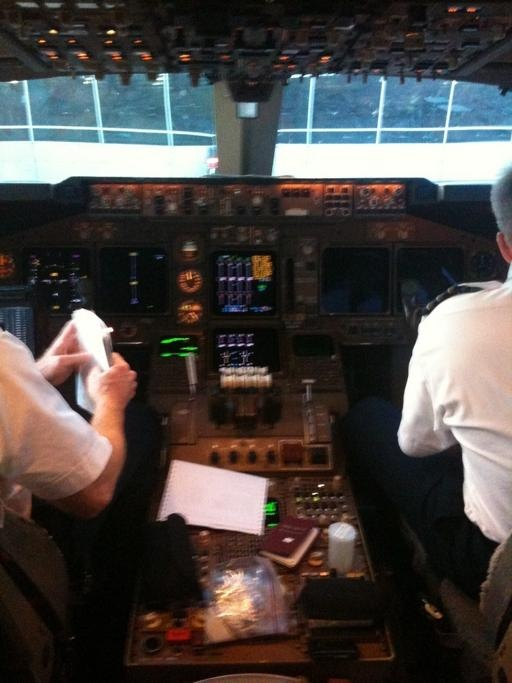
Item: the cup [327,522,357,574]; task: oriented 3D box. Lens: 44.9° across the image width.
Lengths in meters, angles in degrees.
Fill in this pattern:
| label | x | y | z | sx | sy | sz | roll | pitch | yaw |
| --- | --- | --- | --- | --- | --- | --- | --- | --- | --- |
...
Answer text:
| label | x | y | z | sx | sy | sz | roll | pitch | yaw |
| --- | --- | --- | --- | --- | --- | --- | --- | --- | --- |
| cup | 0.227 | 0.556 | 1.658 | 0.082 | 0.109 | 0.089 | -2 | 21 | 1 |
